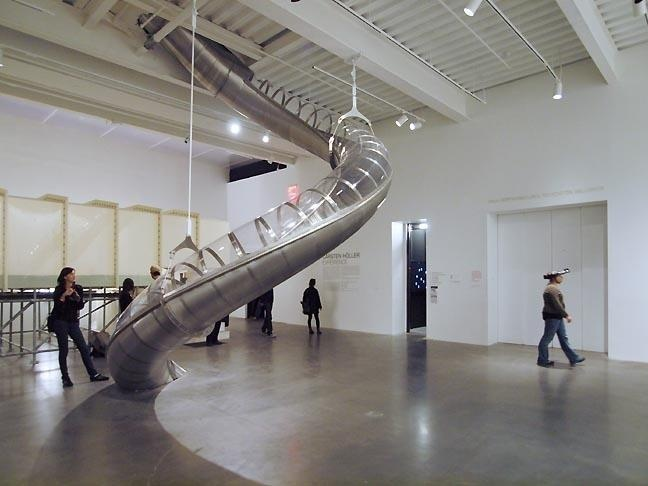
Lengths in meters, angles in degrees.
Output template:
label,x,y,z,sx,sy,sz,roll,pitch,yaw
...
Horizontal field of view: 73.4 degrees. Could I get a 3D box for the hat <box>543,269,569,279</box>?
label,x,y,z,sx,sy,sz,roll,pitch,yaw
hat,4.764,0.623,8.875,0.238,0.135,0.355,-10,1,-17

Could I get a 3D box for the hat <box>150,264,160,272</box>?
label,x,y,z,sx,sy,sz,roll,pitch,yaw
hat,-3.526,0.511,9.038,0.212,0.175,0.365,8,-2,-14

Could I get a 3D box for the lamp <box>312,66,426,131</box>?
label,x,y,z,sx,sy,sz,roll,pitch,yaw
lamp,1.440,-3.228,10.351,1.078,1.036,2.929,-1,-1,43

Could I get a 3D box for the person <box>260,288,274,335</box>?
label,x,y,z,sx,sy,sz,roll,pitch,yaw
person,-1.539,1.827,11.843,0.270,1.193,1.265,0,-1,-9

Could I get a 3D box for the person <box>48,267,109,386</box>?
label,x,y,z,sx,sy,sz,roll,pitch,yaw
person,-3.999,1.321,7.015,0.752,1.860,0.663,0,-1,11

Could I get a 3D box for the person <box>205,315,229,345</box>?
label,x,y,z,sx,sy,sz,roll,pitch,yaw
person,-2.579,2.082,10.398,0.489,0.619,1.250,0,-1,-11

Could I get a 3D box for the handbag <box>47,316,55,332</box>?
label,x,y,z,sx,sy,sz,roll,pitch,yaw
handbag,-4.284,1.255,6.817,0.094,0.278,0.280,1,-1,-34

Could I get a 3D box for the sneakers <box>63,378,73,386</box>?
label,x,y,z,sx,sy,sz,roll,pitch,yaw
sneakers,-4.032,2.186,6.849,0.131,0.111,0.197,0,-1,-32

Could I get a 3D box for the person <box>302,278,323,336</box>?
label,x,y,z,sx,sy,sz,roll,pitch,yaw
person,-0.339,1.753,12.339,0.501,1.533,1.270,0,-1,-1
